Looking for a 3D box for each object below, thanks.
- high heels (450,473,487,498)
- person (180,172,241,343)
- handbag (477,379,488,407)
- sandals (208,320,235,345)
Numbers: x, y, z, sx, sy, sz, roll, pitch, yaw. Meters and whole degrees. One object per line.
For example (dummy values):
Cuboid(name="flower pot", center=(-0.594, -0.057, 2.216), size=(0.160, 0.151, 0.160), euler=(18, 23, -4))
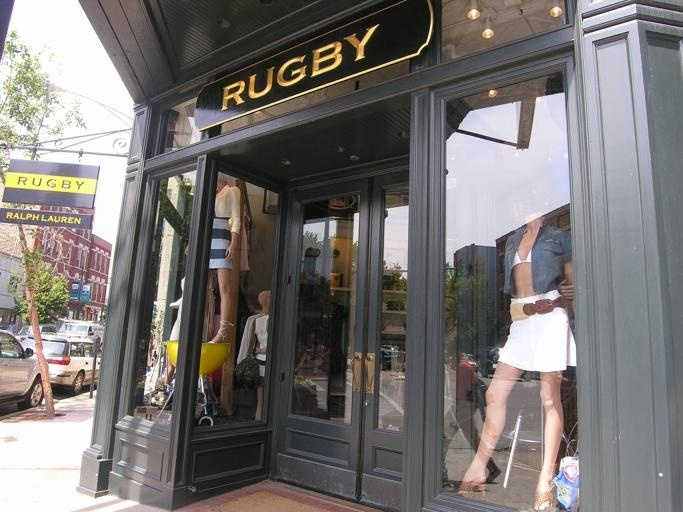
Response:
Cuboid(name="high heels", center=(0.749, 1.384, 2.905), size=(0.266, 0.114, 0.084), euler=(2, -11, 23))
Cuboid(name="person", center=(-1.161, 0.040, 4.782), size=(0.164, 1.616, 0.398), euler=(-6, -11, 35))
Cuboid(name="handbag", center=(0.846, 0.822, 2.887), size=(0.030, 0.135, 0.120), euler=(5, 2, -17))
Cuboid(name="sandals", center=(-1.190, 0.742, 4.755), size=(0.098, 0.209, 0.278), euler=(-8, -19, 24))
